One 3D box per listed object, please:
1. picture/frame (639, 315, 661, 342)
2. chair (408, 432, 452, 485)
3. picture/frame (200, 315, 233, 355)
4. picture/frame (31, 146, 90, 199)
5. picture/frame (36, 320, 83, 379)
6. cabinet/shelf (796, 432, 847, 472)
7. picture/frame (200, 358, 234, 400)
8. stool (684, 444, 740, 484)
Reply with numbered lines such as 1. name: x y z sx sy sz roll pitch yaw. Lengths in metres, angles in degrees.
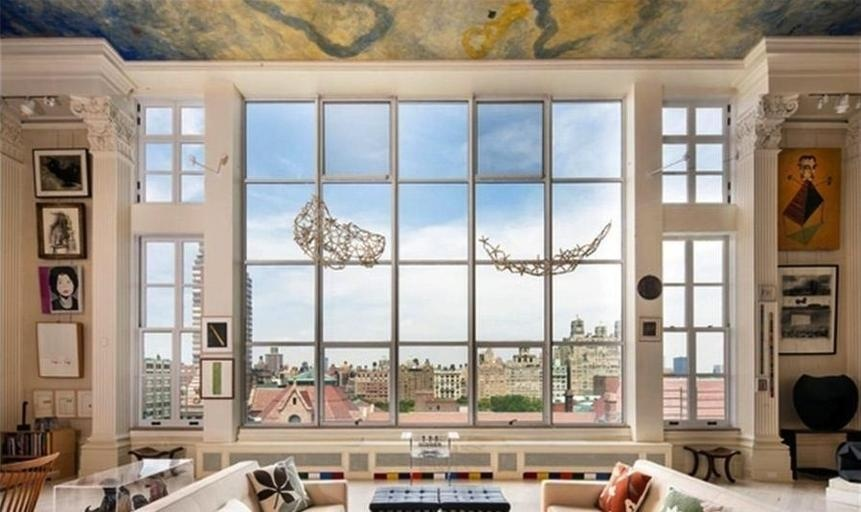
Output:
1. picture/frame: 4.712 1.557 26.961 0.698 0.633 0.078 0 -3 -1
2. chair: 0.031 4.272 26.759 1.390 1.014 1.021 0 -13 -1
3. picture/frame: -4.555 1.695 26.959 1.048 0.980 0.048 0 -4 -5
4. picture/frame: -7.951 -1.782 27.198 1.332 1.003 0.131 0 -2 -2
5. picture/frame: -7.954 2.018 27.169 1.126 1.202 0.255 -2 -3 20
6. cabinet/shelf: 8.503 4.288 27.140 0.688 0.895 1.124 21 -22 -31
7. picture/frame: -4.541 2.620 26.880 1.090 1.015 0.086 0 -3 -1
8. stool: 5.965 4.414 26.991 1.217 0.633 1.077 11 -10 -5
